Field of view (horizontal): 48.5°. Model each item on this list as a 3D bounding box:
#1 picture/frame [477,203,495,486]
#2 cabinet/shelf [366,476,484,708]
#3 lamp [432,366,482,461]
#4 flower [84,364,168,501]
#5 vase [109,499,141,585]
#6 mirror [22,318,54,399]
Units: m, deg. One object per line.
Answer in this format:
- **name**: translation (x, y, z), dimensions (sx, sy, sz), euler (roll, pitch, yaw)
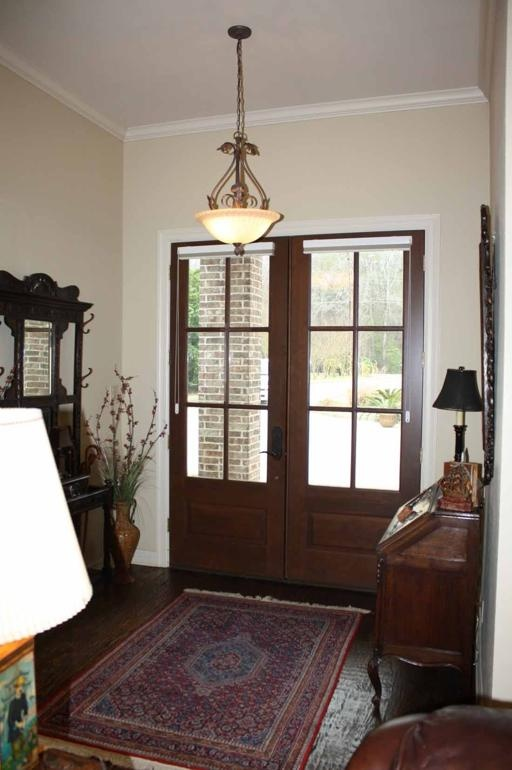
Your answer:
- **picture/frame**: translation (0.853, -0.161, 2.105), dimensions (0.051, 1.135, 0.495), euler (0, 0, 22)
- **cabinet/shelf**: translation (0.716, 0.896, 2.368), dimensions (0.356, 0.838, 0.979), euler (1, 2, 14)
- **lamp**: translation (0.880, 0.126, 2.506), dimensions (0.202, 0.409, 0.421), euler (0, 0, 22)
- **flower**: translation (-0.925, 0.370, 3.994), dimensions (0.382, 0.944, 0.482), euler (0, 0, 21)
- **vase**: translation (-0.897, 1.056, 3.874), dimensions (0.176, 0.526, 0.227), euler (1, 0, -13)
- **mirror**: translation (-1.241, -0.147, 3.241), dimensions (0.044, 0.437, 0.269), euler (0, 0, 12)
